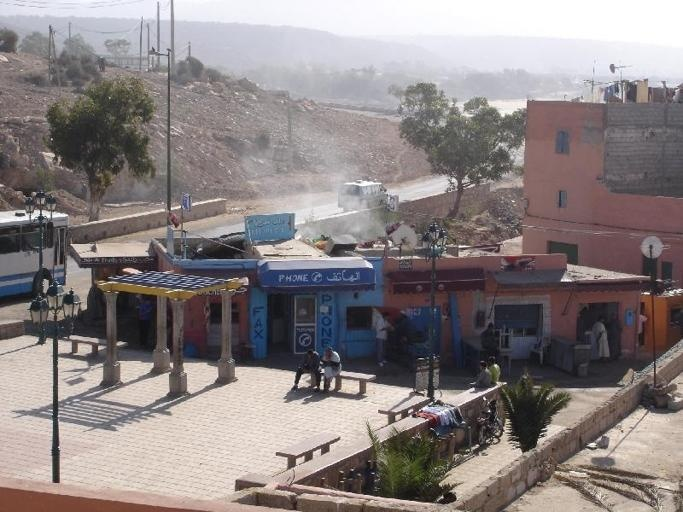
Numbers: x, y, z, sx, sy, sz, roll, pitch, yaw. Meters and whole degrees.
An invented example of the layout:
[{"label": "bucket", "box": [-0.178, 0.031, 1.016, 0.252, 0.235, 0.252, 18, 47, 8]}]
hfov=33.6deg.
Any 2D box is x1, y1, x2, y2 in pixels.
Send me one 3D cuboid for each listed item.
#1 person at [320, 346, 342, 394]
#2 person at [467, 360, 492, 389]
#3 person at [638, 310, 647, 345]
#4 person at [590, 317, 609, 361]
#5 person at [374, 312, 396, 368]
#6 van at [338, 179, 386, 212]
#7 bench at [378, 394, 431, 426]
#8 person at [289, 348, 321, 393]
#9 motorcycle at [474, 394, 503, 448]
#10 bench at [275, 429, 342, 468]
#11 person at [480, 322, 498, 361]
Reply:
[{"label": "person", "box": [-0.363, 3.715, 37.333, 0.623, 1.451, 0.445, -1, 8, -3]}, {"label": "person", "box": [4.709, 3.927, 37.516, 0.729, 1.101, 0.742, 4, 3, 32]}, {"label": "person", "box": [12.210, 2.939, 45.755, 0.306, 1.330, 1.190, 2, 8, 17]}, {"label": "person", "box": [10.160, 3.273, 44.310, 0.719, 1.603, 0.404, -5, 9, -32]}, {"label": "person", "box": [1.517, 3.001, 42.032, 0.680, 1.870, 1.523, 0, 8, 2]}, {"label": "van", "box": [1.469, -4.014, 72.964, 2.508, 1.708, 1.901, -13, 16, -42]}, {"label": "bench", "box": [1.978, 4.834, 35.522, 1.006, 0.538, 2.524, 4, 9, 29]}, {"label": "person", "box": [-0.998, 3.813, 37.741, 1.024, 1.799, 1.165, 4, -2, 21]}, {"label": "motorcycle", "box": [4.767, 5.229, 36.179, 0.592, 1.380, 1.489, 3, 9, 27]}, {"label": "bench", "box": [-0.949, 5.615, 32.227, 0.879, 0.735, 2.114, 6, 10, 42]}, {"label": "person", "box": [5.492, 3.194, 41.695, 0.649, 1.243, 0.816, -2, 8, -13]}]
